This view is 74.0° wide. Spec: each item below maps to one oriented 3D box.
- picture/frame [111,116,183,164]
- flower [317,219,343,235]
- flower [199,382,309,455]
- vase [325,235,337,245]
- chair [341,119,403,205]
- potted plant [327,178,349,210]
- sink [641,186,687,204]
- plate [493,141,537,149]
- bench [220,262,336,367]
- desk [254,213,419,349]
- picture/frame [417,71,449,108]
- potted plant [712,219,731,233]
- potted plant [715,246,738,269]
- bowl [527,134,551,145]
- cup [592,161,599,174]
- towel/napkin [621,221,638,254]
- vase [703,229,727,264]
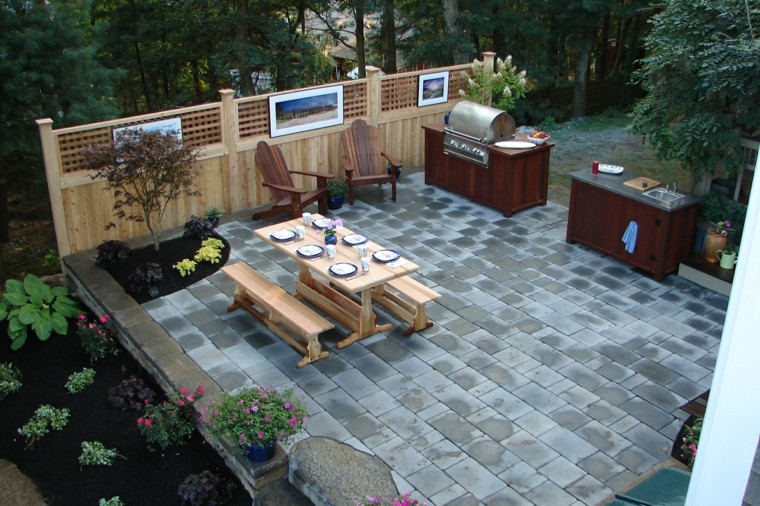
[{"bbox_3d":[-3.956,-1.887,8.467,1.229,0.623,0.028,-16,35,-25],"label":"picture/frame"},{"bbox_3d":[-0.738,-0.389,7.610,0.325,0.066,0.298,-5,25,-13],"label":"flower"},{"bbox_3d":[-1.378,1.654,5.424,0.856,0.277,0.803,-7,18,-27],"label":"flower"},{"bbox_3d":[-0.715,-0.196,7.338,0.146,0.088,0.140,15,26,37],"label":"vase"},{"bbox_3d":[-0.281,-2.019,10.867,1.109,1.615,1.213,-6,25,-2],"label":"chair"},{"bbox_3d":[-0.956,-1.256,10.613,0.619,0.560,0.597,-5,11,17],"label":"potted plant"},{"bbox_3d":[4.639,-0.949,8.219,0.362,0.160,0.429,-27,37,-30],"label":"sink"},{"bbox_3d":[2.678,-2.142,9.968,0.571,0.066,0.311,0,28,3],"label":"plate"},{"bbox_3d":[-1.498,0.872,7.196,2.026,0.894,0.518,19,34,42],"label":"bench"},{"bbox_3d":[-0.740,0.478,7.634,1.283,1.052,2.439,-12,24,-37],"label":"desk"},{"bbox_3d":[1.214,-3.913,11.888,0.931,0.693,0.042,-15,32,-27],"label":"picture/frame"},{"bbox_3d":[5.511,-0.430,8.108,0.317,0.171,0.187,1,25,10],"label":"potted plant"},{"bbox_3d":[5.599,0.074,8.125,0.254,0.300,0.305,-2,25,6],"label":"potted plant"},{"bbox_3d":[3.125,-2.234,10.077,0.283,0.095,0.313,16,31,38],"label":"bowl"},{"bbox_3d":[3.815,-1.513,8.917,0.103,0.193,0.132,4,27,18],"label":"cup"},{"bbox_3d":[4.189,-0.270,8.430,0.142,0.558,0.202,-20,30,-27],"label":"towel/napkin"},{"bbox_3d":[5.539,-0.111,8.280,0.381,0.468,0.345,0,17,-5],"label":"vase"}]
